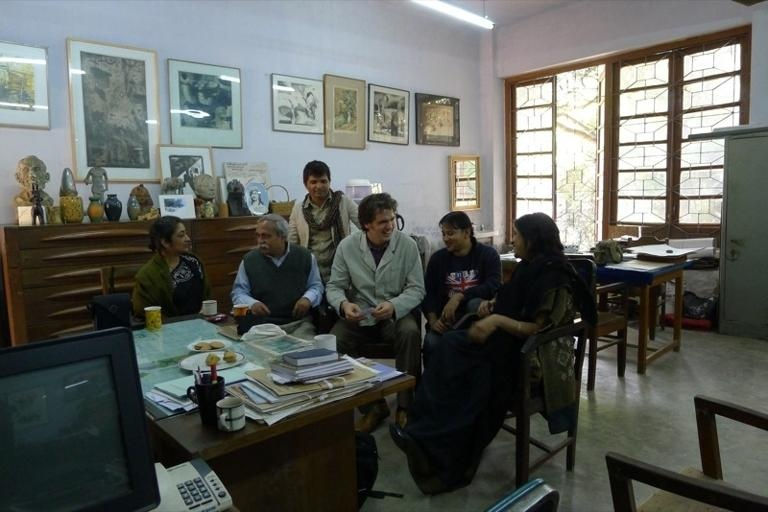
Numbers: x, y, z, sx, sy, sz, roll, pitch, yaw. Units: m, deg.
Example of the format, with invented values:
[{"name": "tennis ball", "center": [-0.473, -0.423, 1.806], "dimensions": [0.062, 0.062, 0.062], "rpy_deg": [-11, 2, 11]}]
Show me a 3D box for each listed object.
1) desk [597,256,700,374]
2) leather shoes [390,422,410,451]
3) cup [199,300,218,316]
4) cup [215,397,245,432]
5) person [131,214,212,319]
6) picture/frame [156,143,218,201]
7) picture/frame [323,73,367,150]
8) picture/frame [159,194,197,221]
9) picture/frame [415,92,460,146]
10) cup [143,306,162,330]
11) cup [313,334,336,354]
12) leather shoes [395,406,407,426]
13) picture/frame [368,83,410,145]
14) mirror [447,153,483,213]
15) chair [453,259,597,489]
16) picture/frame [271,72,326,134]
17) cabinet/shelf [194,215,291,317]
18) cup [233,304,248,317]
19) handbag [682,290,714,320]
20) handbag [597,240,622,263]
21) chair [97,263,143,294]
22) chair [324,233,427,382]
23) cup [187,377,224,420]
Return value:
[{"name": "desk", "center": [2.509, 0.495, 5.418], "dimensions": [1.114, 1.037, 1.093], "rpy_deg": [-4, 4, -37]}, {"name": "leather shoes", "center": [0.105, 1.199, 3.417], "dimensions": [0.076, 0.178, 0.130], "rpy_deg": [-41, -15, 24]}, {"name": "cup", "center": [-1.333, 0.384, 3.857], "dimensions": [0.149, 0.108, 0.114], "rpy_deg": [1, 3, 15]}, {"name": "cup", "center": [-0.729, 0.752, 2.388], "dimensions": [0.114, 0.124, 0.180], "rpy_deg": [-1, 9, 6]}, {"name": "person", "center": [-1.727, 0.085, 4.045], "dimensions": [0.580, 0.789, 0.309], "rpy_deg": [-12, 17, -33]}, {"name": "picture/frame", "center": [-2.287, -0.951, 5.819], "dimensions": [0.700, 0.793, 0.030], "rpy_deg": [-6, -4, -45]}, {"name": "picture/frame", "center": [-0.571, -2.011, 7.172], "dimensions": [0.774, 0.999, 0.157], "rpy_deg": [-12, 18, -35]}, {"name": "picture/frame", "center": [-2.237, -0.528, 5.494], "dimensions": [0.472, 0.361, 0.023], "rpy_deg": [-1, -15, -43]}, {"name": "picture/frame", "center": [0.851, -2.175, 8.300], "dimensions": [0.931, 0.760, 0.074], "rpy_deg": [-6, 9, -34]}, {"name": "cup", "center": [-1.584, 0.438, 3.572], "dimensions": [0.151, 0.149, 0.130], "rpy_deg": [1, -3, -44]}, {"name": "cup", "center": [-0.343, 0.499, 2.935], "dimensions": [0.144, 0.096, 0.086], "rpy_deg": [-6, 2, 8]}, {"name": "leather shoes", "center": [0.119, 1.200, 3.827], "dimensions": [0.097, 0.109, 0.123], "rpy_deg": [0, -11, 1]}, {"name": "picture/frame", "center": [0.059, -2.095, 7.679], "dimensions": [0.854, 0.821, 0.019], "rpy_deg": [-7, 13, -41]}, {"name": "mirror", "center": [1.371, -1.244, 8.696], "dimensions": [0.763, 0.964, 0.257], "rpy_deg": [-14, 19, -41]}, {"name": "chair", "center": [1.060, 0.889, 3.366], "dimensions": [0.356, 1.199, 0.750], "rpy_deg": [10, 19, 38]}, {"name": "picture/frame", "center": [-1.173, -2.019, 6.730], "dimensions": [0.889, 0.799, 0.085], "rpy_deg": [-7, 9, -41]}, {"name": "cabinet/shelf", "center": [-1.334, 0.084, 4.685], "dimensions": [0.420, 0.999, 1.104], "rpy_deg": [1, 5, 45]}, {"name": "cup", "center": [-1.030, 0.385, 3.635], "dimensions": [0.082, 0.051, 0.082], "rpy_deg": [0, 4, 0]}, {"name": "handbag", "center": [3.754, 0.601, 6.147], "dimensions": [0.317, 0.303, 0.228], "rpy_deg": [-4, -6, 38]}, {"name": "handbag", "center": [2.251, -0.057, 5.068], "dimensions": [0.233, 0.216, 0.217], "rpy_deg": [-12, 7, -23]}, {"name": "chair", "center": [-2.329, 0.194, 4.480], "dimensions": [0.305, 0.433, 0.295], "rpy_deg": [2, 2, 36]}, {"name": "chair", "center": [-0.070, 0.414, 4.246], "dimensions": [0.842, 1.150, 0.738], "rpy_deg": [-5, 19, -6]}, {"name": "cup", "center": [-0.874, 0.703, 2.486], "dimensions": [0.200, 0.188, 0.126], "rpy_deg": [-3, -3, 18]}]
